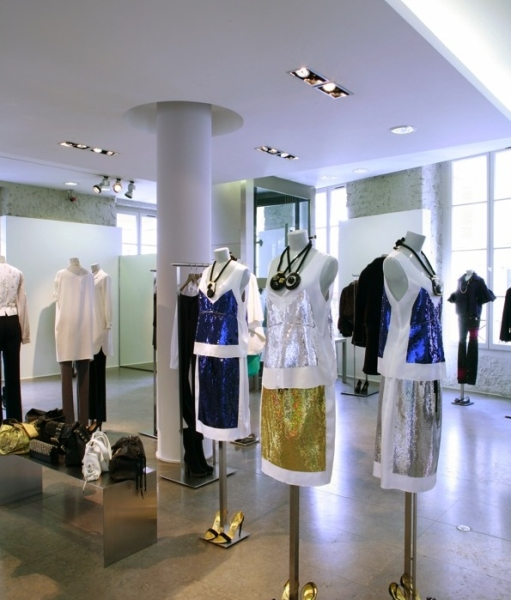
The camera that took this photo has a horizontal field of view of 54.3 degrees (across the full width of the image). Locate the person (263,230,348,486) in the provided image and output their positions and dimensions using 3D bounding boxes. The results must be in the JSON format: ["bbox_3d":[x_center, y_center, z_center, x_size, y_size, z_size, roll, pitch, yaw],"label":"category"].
[{"bbox_3d":[0.178,0.237,2.094,0.320,1.049,0.272,0,2,8],"label":"person"}]

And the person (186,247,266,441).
[{"bbox_3d":[-0.199,0.247,2.929,0.323,1.094,0.390,0,2,-3],"label":"person"}]

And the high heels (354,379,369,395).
[{"bbox_3d":[1.523,1.260,7.108,0.135,0.133,0.279,-5,-13,20],"label":"high heels"}]

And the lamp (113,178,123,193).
[{"bbox_3d":[-2.075,-1.713,7.473,0.117,0.255,0.631,0,2,-15],"label":"lamp"}]

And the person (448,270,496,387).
[{"bbox_3d":[2.768,0.366,6.412,0.530,1.452,0.299,1,2,28],"label":"person"}]

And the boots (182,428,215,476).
[{"bbox_3d":[-0.439,1.204,3.951,0.295,0.530,0.200,-2,-1,-4],"label":"boots"}]

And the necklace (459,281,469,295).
[{"bbox_3d":[2.677,-0.151,6.383,0.033,0.153,0.069,21,-24,-29],"label":"necklace"}]

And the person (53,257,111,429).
[{"bbox_3d":[-1.752,0.472,5.051,0.550,1.778,0.798,-1,2,-20],"label":"person"}]

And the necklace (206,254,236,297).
[{"bbox_3d":[-0.201,-0.131,2.957,0.118,0.333,0.150,19,-20,-36],"label":"necklace"}]

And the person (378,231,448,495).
[{"bbox_3d":[0.647,0.254,2.104,0.289,1.073,0.242,0,2,10],"label":"person"}]

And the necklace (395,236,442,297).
[{"bbox_3d":[0.687,-0.115,2.166,0.062,0.272,0.175,-26,-2,35],"label":"necklace"}]

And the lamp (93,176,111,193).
[{"bbox_3d":[-2.338,-1.717,7.549,0.191,0.227,1.113,-1,3,-20],"label":"lamp"}]
